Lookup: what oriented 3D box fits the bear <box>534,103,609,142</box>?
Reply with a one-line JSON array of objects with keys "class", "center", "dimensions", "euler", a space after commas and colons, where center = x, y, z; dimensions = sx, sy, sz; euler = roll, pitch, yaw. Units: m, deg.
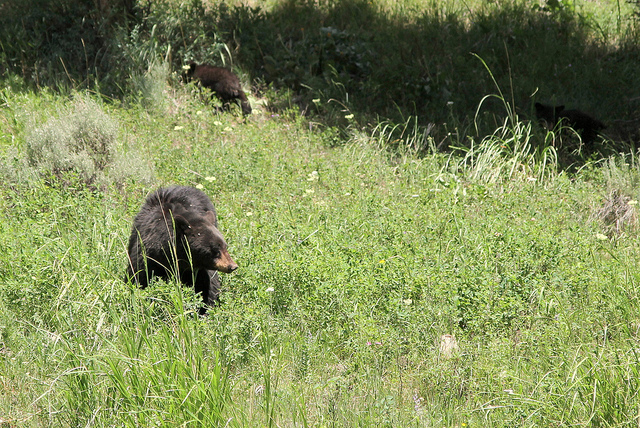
[{"class": "bear", "center": [4.220, -1.621, 12.068], "dimensions": [0.913, 0.781, 1.006], "euler": [-16, 21, -32]}]

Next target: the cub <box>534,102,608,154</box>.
[{"class": "cub", "center": [4.215, -1.453, 12.004], "dimensions": [1.138, 0.774, 0.620], "euler": [8, 7, 17]}]

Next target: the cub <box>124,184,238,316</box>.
[{"class": "cub", "center": [-1.925, 0.471, 9.131], "dimensions": [1.929, 1.632, 1.140], "euler": [20, 21, 33]}]

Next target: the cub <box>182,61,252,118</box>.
[{"class": "cub", "center": [-1.915, -2.217, 12.832], "dimensions": [1.113, 0.617, 0.368], "euler": [41, 39, 10]}]
